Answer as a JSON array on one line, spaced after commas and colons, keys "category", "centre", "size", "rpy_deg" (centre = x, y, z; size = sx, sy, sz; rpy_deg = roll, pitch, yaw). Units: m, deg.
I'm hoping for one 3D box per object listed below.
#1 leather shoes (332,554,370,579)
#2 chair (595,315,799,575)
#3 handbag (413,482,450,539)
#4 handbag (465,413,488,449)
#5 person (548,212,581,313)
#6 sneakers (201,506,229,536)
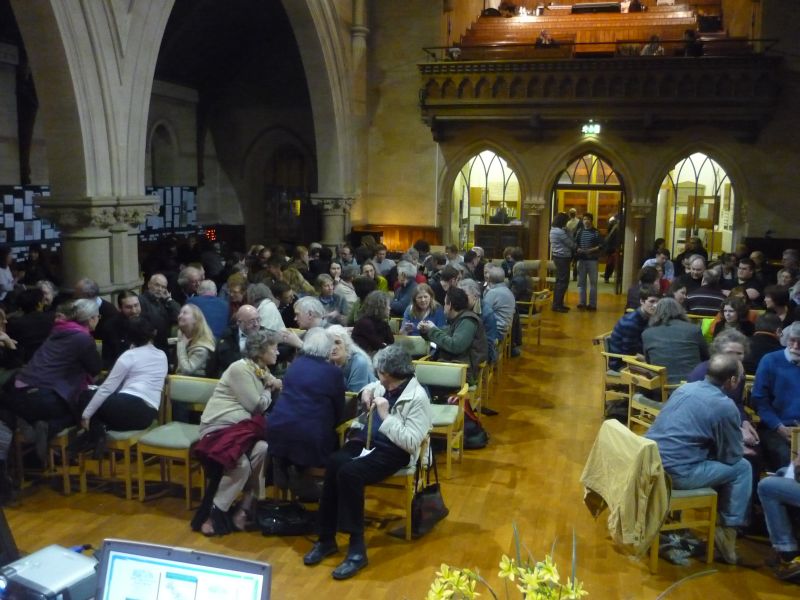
[{"category": "leather shoes", "centre": [-0.371, 2.006, 5.473], "size": [0.105, 0.124, 0.286], "rpy_deg": [3, 2, 35]}, {"category": "chair", "centre": [2.632, 1.210, 5.819], "size": [1.210, 1.632, 1.096], "rpy_deg": [5, 12, 19]}, {"category": "handbag", "centre": [0.264, 1.748, 6.010], "size": [0.332, 0.356, 0.108], "rpy_deg": [23, -18, -31]}, {"category": "handbag", "centre": [0.817, 1.404, 7.734], "size": [0.269, 0.357, 0.178], "rpy_deg": [-16, -4, -25]}, {"category": "person", "centre": [3.194, -0.725, 14.142], "size": [0.497, 1.922, 0.646], "rpy_deg": [3, 11, 14]}, {"category": "sneakers", "centre": [-1.518, 1.815, 5.948], "size": [0.137, 0.128, 0.284], "rpy_deg": [2, 3, 4]}]
